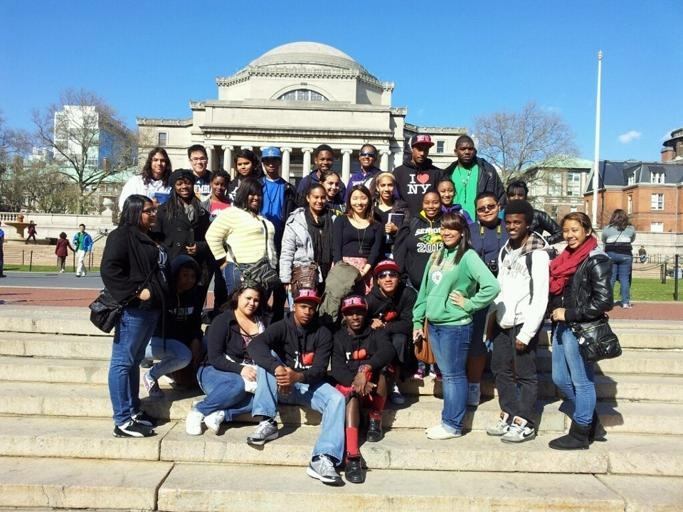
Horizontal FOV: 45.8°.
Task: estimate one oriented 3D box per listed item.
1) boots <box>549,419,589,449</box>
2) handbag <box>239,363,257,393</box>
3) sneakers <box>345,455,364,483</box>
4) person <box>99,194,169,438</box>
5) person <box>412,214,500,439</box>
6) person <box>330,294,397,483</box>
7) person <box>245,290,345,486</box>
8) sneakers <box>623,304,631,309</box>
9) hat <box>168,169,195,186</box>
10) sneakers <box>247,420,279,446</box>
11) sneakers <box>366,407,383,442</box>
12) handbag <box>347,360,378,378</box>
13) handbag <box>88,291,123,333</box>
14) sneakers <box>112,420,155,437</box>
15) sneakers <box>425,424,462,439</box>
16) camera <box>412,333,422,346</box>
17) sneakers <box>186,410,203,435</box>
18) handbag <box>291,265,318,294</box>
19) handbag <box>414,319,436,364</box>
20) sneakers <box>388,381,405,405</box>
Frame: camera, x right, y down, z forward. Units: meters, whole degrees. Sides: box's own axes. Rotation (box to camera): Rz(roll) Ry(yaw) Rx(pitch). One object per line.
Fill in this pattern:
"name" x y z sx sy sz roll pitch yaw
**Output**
"boots" 3.301 2.620 11.713 0.628 0.445 0.291 3 -7 1
"handbag" -1.331 1.792 11.734 0.315 0.337 0.129 2 4 12
"sneakers" 0.179 2.928 11.082 0.267 0.367 0.210 0 1 -2
"person" -2.923 0.850 11.503 0.864 3.448 0.371 -1 1 -13
"person" 1.632 1.017 11.759 1.164 3.288 0.495 0 1 6
"person" 0.297 1.868 11.606 0.925 1.421 2.464 0 43 -3
"person" -0.624 1.788 11.532 1.469 2.618 1.059 0 1 12
"sneakers" 6.282 1.102 17.843 0.184 0.071 0.366 0 1 18
"hat" -2.593 -1.284 13.188 0.342 0.171 0.424 -3 -1 -7
"sneakers" -1.061 2.520 11.524 0.204 0.262 0.536 -2 -9 33
"sneakers" 0.484 2.444 11.706 0.240 0.446 0.238 0 1 4
"handbag" 0.323 1.635 11.659 0.423 0.265 0.320 0 1 8
"handbag" -3.300 0.761 11.490 0.516 0.572 0.376 0 1 11
"sneakers" -2.951 2.485 11.607 0.564 0.257 0.237 0 -4 -5
"sneakers" 1.465 2.565 11.722 0.381 0.149 0.234 6 -4 1
"camera" 1.123 1.237 11.931 0.110 0.146 0.043 20 13 -14
"sneakers" -2.096 2.391 11.627 0.255 0.355 0.209 -1 1 -13
"handbag" -0.549 0.366 12.632 0.395 0.444 0.428 1 -9 -2
"handbag" 1.241 1.226 11.907 0.265 0.882 0.608 2 -4 -1
"sneakers" 0.842 2.136 12.296 0.142 0.274 0.432 2 -20 -4
